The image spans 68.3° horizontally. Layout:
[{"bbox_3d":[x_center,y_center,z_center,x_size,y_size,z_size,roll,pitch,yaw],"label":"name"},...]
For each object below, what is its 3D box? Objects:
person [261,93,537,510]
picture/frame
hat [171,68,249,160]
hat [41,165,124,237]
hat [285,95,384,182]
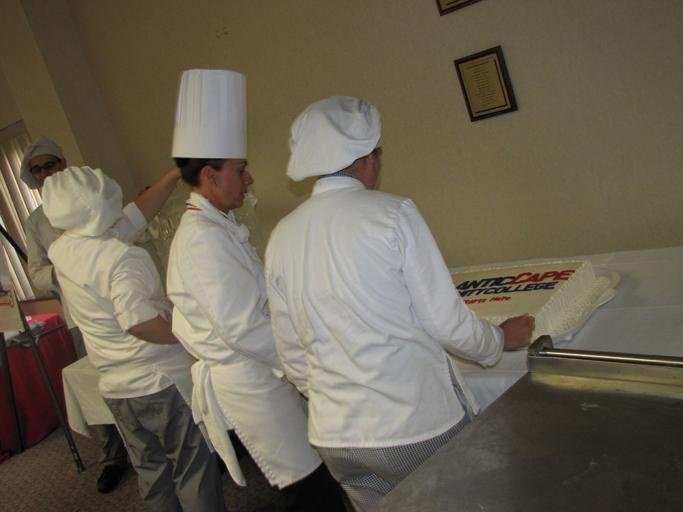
[{"bbox_3d":[0.094,0.151,1.394,0.643,1.149,0.443,0,18,26],"label":"person"},{"bbox_3d":[0.701,-0.841,2.411,0.329,0.435,0.040,-6,18,42],"label":"picture/frame"},{"bbox_3d":[-0.429,-0.456,1.882,0.278,0.364,0.313,1,-9,0],"label":"hat"},{"bbox_3d":[-1.017,-0.210,1.978,0.282,0.254,0.203,-17,19,-26],"label":"hat"},{"bbox_3d":[-0.027,-0.319,1.356,0.208,0.251,0.083,-5,-15,29],"label":"hat"}]
